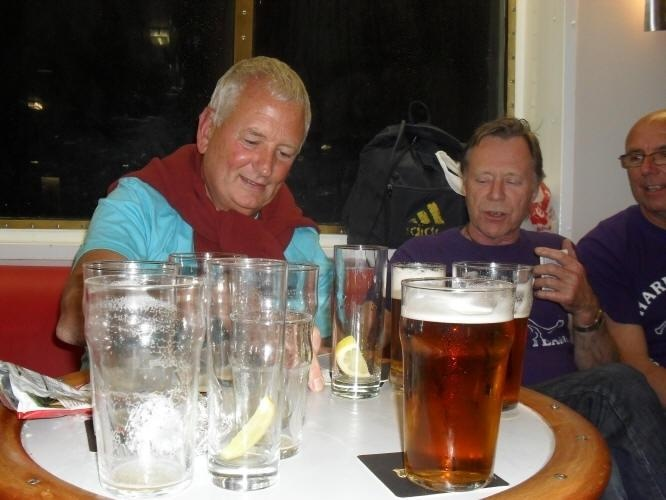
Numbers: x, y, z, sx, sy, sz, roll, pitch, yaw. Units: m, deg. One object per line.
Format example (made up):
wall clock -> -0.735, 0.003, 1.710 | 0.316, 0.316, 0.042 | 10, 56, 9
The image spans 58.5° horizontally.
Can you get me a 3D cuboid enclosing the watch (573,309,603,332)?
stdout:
watch -> 0.780, 0.224, 1.829 | 0.073, 0.023, 0.075 | -22, 15, 21
